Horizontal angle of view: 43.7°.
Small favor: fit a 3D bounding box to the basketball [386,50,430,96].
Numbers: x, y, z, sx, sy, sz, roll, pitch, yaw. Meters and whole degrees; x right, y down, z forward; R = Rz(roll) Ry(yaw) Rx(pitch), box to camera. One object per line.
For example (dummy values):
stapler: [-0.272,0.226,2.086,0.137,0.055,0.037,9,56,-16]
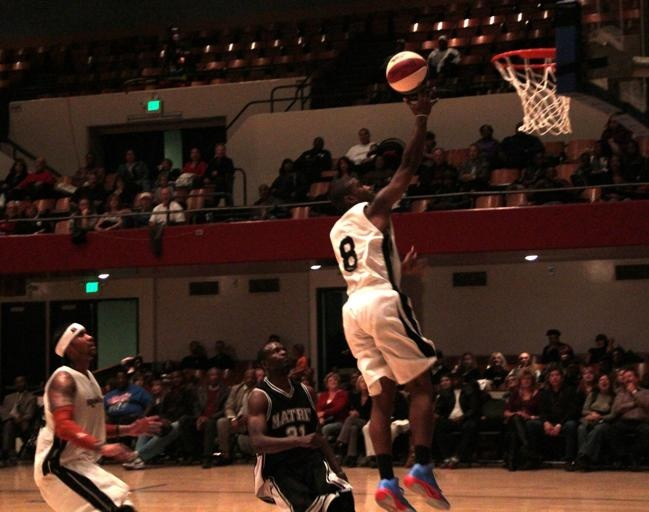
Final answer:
basketball: [0.665,-1.459,6.538,0.362,0.313,0.331,23,14,13]
